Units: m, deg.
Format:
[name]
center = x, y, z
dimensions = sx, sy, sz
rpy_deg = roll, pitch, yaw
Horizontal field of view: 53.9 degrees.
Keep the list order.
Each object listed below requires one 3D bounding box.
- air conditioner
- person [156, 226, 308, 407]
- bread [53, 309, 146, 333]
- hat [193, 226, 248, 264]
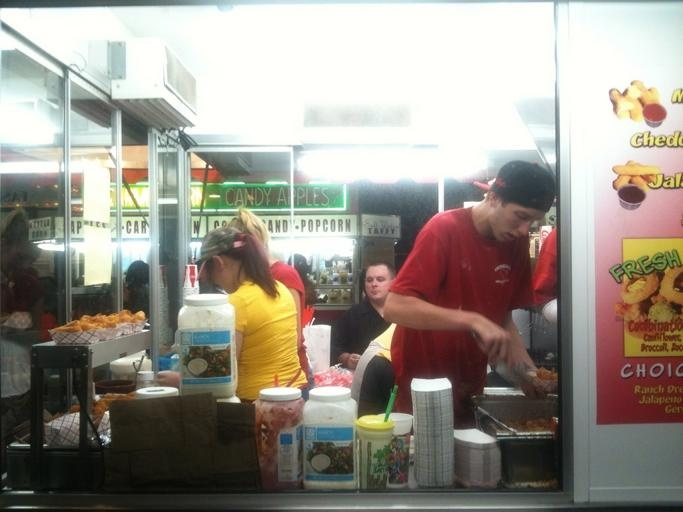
[air conditioner]
center = -0.942, -0.833, 3.673
dimensions = 0.299, 0.337, 0.824
rpy_deg = 0, -11, 8
[person]
center = -0.448, 0.316, 2.759
dimensions = 0.607, 0.859, 0.522
rpy_deg = 1, 7, 38
[bread]
center = -0.956, 0.256, 2.662
dimensions = 0.200, 0.073, 0.344
rpy_deg = -2, -3, 12
[hat]
center = -0.480, -0.040, 2.750
dimensions = 0.199, 0.197, 0.161
rpy_deg = 3, -9, 10
